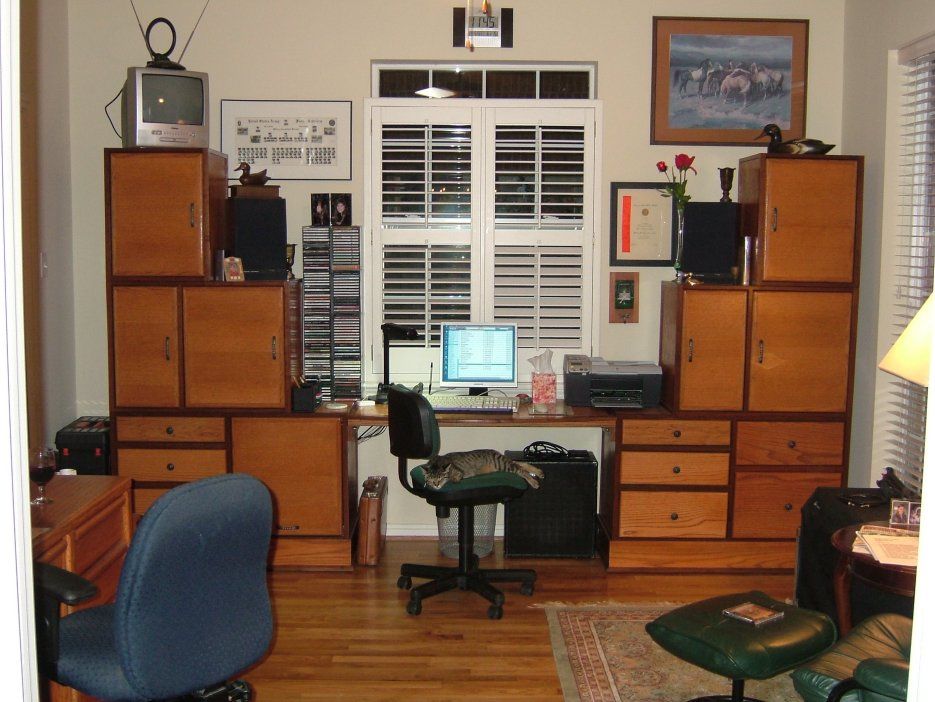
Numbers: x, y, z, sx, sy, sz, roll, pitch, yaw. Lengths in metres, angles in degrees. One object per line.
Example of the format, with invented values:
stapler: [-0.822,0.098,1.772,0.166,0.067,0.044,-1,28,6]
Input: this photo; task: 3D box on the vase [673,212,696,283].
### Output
vase: [1.214,-0.617,5.357,0.071,0.409,0.155,-3,10,-7]

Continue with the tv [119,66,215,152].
tv: [-1.694,-1.328,5.227,0.472,0.385,0.445,-3,10,-27]

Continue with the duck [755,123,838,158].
duck: [1.822,-1.188,5.289,0.355,0.209,0.498,0,9,8]

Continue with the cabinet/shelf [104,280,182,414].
cabinet/shelf: [-1.719,-0.023,5.288,0.414,0.703,0.358,1,4,15]

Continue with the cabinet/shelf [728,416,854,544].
cabinet/shelf: [1.886,0.704,5.310,0.590,0.737,0.447,20,21,39]

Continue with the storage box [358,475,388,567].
storage box: [-0.545,0.978,5.375,0.166,0.448,0.475,1,1,1]

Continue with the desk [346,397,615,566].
desk: [0.084,0.690,5.377,1.483,0.685,0.495,1,3,-3]

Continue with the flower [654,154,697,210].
flower: [1.201,-0.961,5.426,0.225,0.263,0.191,-7,-7,-10]

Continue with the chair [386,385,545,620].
chair: [-0.028,0.738,4.861,0.738,1.145,0.531,-2,10,-5]

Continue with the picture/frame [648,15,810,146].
picture/frame: [1.533,-1.612,5.508,0.905,0.613,0.032,1,3,0]

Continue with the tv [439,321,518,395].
tv: [0.057,0.037,5.502,0.465,0.377,0.147,0,1,0]

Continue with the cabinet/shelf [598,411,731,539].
cabinet/shelf: [1.128,0.693,5.379,0.664,0.714,0.519,1,4,-3]

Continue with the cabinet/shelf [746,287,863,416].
cabinet/shelf: [1.846,-0.019,5.332,0.602,0.690,0.443,0,9,10]

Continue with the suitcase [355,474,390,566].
suitcase: [-0.554,0.977,5.396,0.167,0.457,0.486,1,2,1]

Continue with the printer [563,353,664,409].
printer: [0.812,0.188,5.312,0.477,0.264,0.317,0,-1,1]

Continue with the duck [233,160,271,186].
duck: [-1.236,-1.006,5.374,0.220,0.143,0.132,-1,14,-16]

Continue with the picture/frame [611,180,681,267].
picture/frame: [1.049,-0.777,5.564,0.578,0.636,0.050,0,4,-1]

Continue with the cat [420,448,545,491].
cat: [0.136,0.596,4.962,0.757,0.242,0.213,0,-23,-20]
